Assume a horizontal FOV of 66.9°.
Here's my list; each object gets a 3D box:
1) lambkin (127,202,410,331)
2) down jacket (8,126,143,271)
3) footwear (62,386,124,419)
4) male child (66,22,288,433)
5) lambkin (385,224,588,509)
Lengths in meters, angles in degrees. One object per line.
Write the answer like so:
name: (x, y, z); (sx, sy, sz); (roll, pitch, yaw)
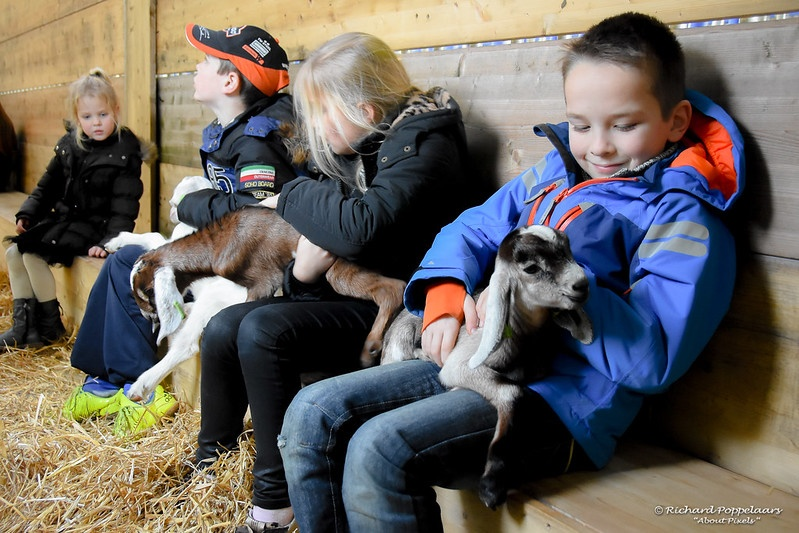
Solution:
lambkin: (-0.512, 0.031, 2.353); (1.108, 0.575, 0.315); (-9, 22, 16)
down jacket: (-1.972, -0.456, 3.704); (0.667, 0.786, 0.633); (8, 6, -15)
footwear: (-1.391, 0.621, 2.824); (0.322, 0.132, 0.123); (-1, 6, -6)
male child: (-0.999, -0.164, 2.875); (1.118, 1.824, 0.901); (2, 8, -15)
lambkin: (0.289, 0.336, 1.898); (0.387, 0.746, 0.920); (1, -9, -27)
